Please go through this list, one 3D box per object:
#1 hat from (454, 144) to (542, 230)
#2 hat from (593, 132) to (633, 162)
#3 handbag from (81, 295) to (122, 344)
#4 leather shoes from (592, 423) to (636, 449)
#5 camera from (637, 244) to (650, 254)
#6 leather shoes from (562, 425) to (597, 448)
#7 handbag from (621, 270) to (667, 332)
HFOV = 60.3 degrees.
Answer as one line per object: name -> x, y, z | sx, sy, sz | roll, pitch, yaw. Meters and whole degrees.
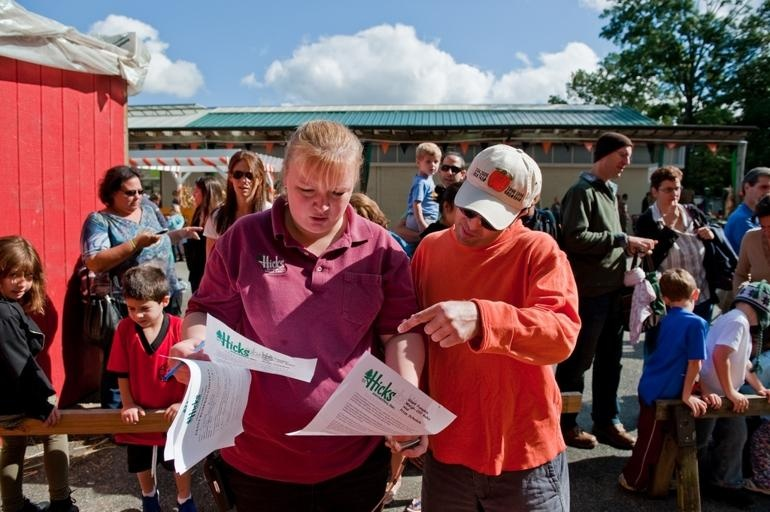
hat -> 0.730, -0.505, 4.218 | 0.477, 0.372, 0.715 | 33, 35, 16
hat -> 2.148, -1.027, 6.354 | 0.280, 0.239, 0.297 | -22, 16, -19
handbag -> -2.580, 0.578, 6.051 | 0.346, 0.477, 0.254 | -10, -12, 8
leather shoes -> 2.134, 1.673, 6.323 | 0.437, 0.203, 0.166 | 10, 17, 31
camera -> 2.398, -0.073, 6.172 | 0.083, 0.026, 0.077 | 43, -36, -22
leather shoes -> 1.807, 1.712, 6.237 | 0.351, 0.158, 0.156 | -2, 7, 19
handbag -> 2.336, 0.403, 5.984 | 0.297, 0.577, 0.427 | 7, -16, -34
